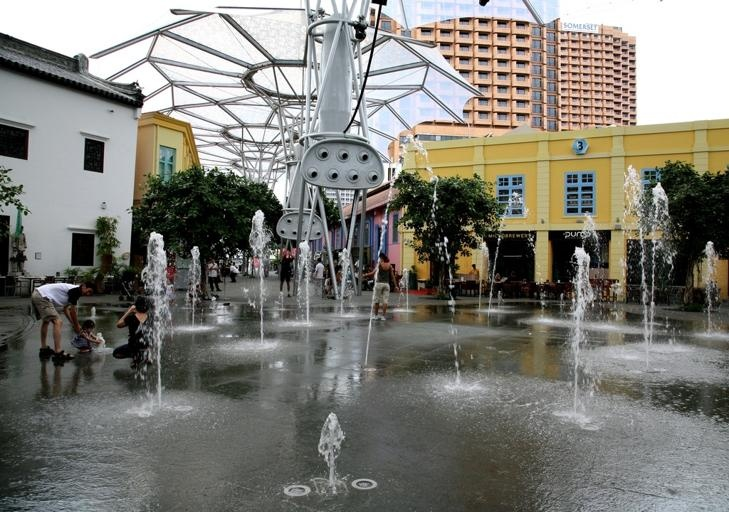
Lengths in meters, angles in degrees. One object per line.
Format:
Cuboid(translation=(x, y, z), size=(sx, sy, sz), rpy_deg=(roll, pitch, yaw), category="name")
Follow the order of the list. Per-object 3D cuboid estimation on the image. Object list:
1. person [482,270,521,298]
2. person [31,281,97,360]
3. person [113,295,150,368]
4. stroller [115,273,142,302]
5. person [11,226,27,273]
Cuboid(translation=(7.356, 1.543, 31.717), size=(1.476, 0.777, 2.159), rpy_deg=(1, 7, 15), category="person")
Cuboid(translation=(-6.583, 1.304, 12.893), size=(0.977, 1.523, 2.347), rpy_deg=(-2, 4, -27), category="person")
Cuboid(translation=(-4.719, 1.505, 12.021), size=(0.720, 1.294, 1.388), rpy_deg=(-2, 4, -23), category="person")
Cuboid(translation=(-10.395, 1.348, 25.924), size=(1.125, 1.593, 0.947), rpy_deg=(2, -5, -5), category="stroller")
Cuboid(translation=(-14.451, -0.238, 24.825), size=(0.528, 2.047, 0.711), rpy_deg=(-3, 5, -31), category="person")
